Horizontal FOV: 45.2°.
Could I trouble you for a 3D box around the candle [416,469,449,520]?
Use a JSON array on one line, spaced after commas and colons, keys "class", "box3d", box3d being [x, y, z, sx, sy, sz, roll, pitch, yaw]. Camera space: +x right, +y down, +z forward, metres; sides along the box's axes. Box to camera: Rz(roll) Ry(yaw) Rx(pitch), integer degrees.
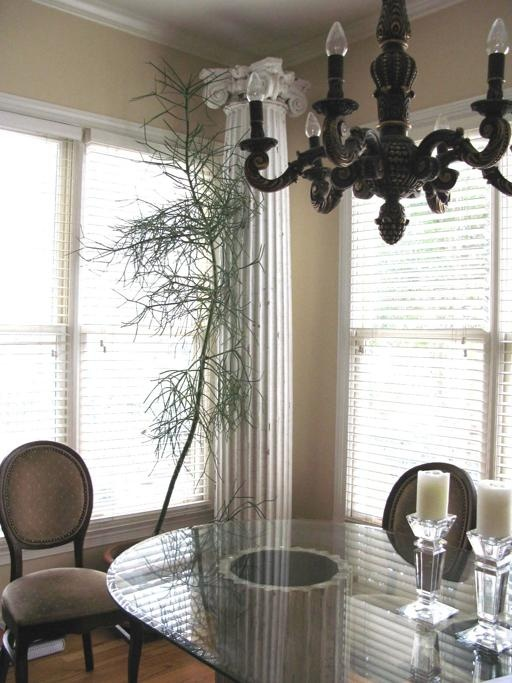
[{"class": "candle", "box3d": [0.437, 0.381, 1.530, 0.078, 0.113, 0.069, 0, 0, -7]}]
